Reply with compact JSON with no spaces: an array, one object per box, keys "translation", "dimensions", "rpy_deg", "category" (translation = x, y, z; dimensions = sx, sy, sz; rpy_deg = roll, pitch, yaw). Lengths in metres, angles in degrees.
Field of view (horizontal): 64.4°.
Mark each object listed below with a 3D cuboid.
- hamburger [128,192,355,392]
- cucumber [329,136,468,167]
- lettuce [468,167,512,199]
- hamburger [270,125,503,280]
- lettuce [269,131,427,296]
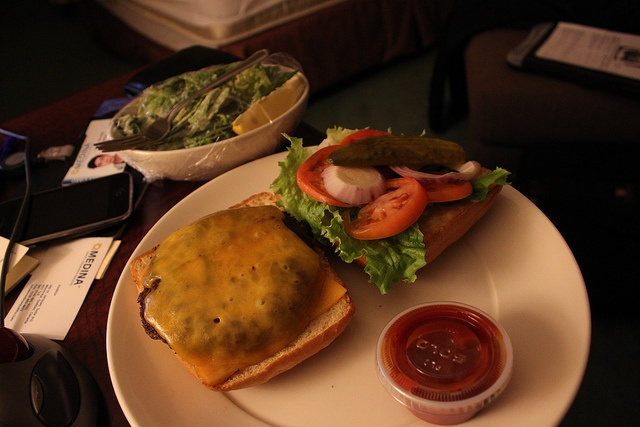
[{"translation":[-0.397,0.390,2.487],"dimensions":[0.923,0.881,0.305],"rpy_deg":[-33,-20,-5],"category":"hamburger"},{"translation":[0.441,-0.347,2.716],"dimensions":[0.810,0.223,0.250],"rpy_deg":[-3,18,-16],"category":"cucumber"},{"translation":[0.901,-0.192,2.691],"dimensions":[0.144,0.188,0.178],"rpy_deg":[6,23,26],"category":"lettuce"},{"translation":[0.298,-0.052,2.878],"dimensions":[0.954,0.800,1.214],"rpy_deg":[-20,27,-33],"category":"hamburger"},{"translation":[0.101,0.110,2.843],"dimensions":[0.654,0.897,0.319],"rpy_deg":[-37,-16,-21],"category":"lettuce"}]
